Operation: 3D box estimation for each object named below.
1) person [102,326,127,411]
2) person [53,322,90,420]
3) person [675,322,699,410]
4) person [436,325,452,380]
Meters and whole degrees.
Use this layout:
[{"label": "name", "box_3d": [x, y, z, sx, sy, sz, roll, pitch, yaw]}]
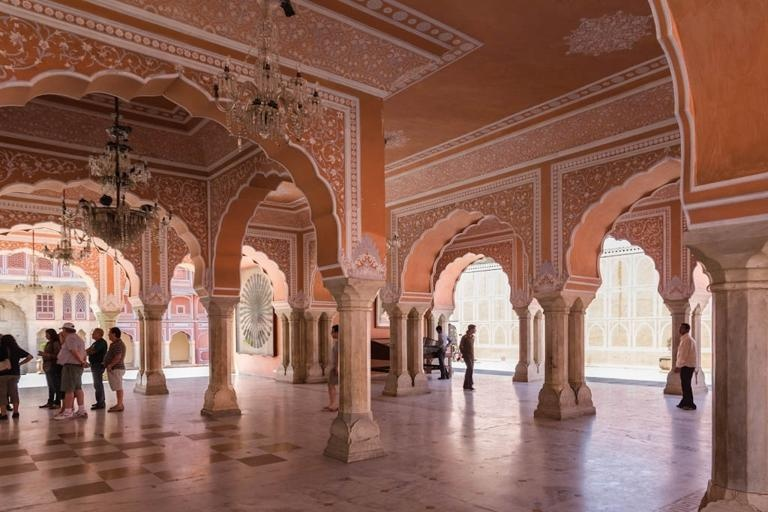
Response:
[{"label": "person", "box_3d": [-5.423, 2.263, 11.342, 0.366, 1.708, 1.276, 0, -1, -25]}, {"label": "person", "box_3d": [-5.819, 2.117, 10.486, 0.498, 1.755, 1.132, 0, -1, -28]}, {"label": "person", "box_3d": [5.946, 2.115, 11.106, 0.343, 1.633, 1.284, -1, -1, 28]}, {"label": "person", "box_3d": [1.702, 2.741, 16.245, 0.342, 1.506, 1.169, 0, -1, 5]}]
